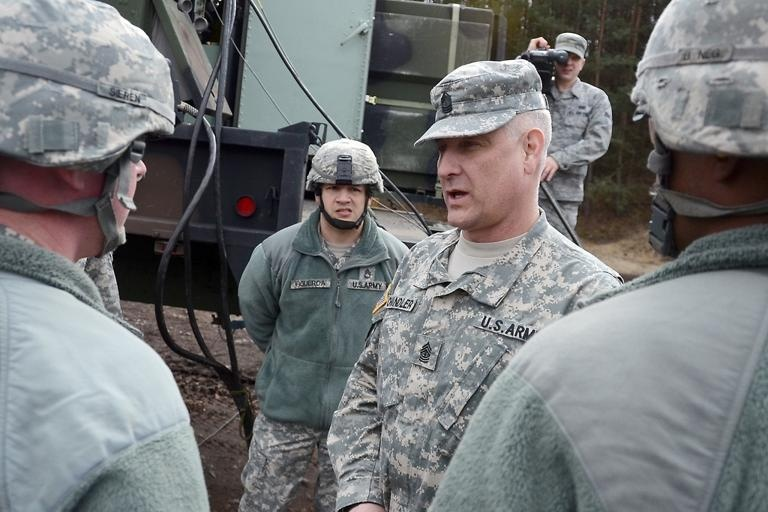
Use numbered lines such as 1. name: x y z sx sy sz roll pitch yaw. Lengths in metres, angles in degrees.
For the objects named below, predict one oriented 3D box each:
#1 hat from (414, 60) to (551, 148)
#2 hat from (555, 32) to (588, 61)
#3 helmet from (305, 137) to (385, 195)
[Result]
1. hat: 0.338 -0.509 2.526 0.352 0.180 0.254 -10 -3 -34
2. hat: 1.409 -1.587 5.655 0.219 0.174 0.327 19 1 21
3. helmet: -0.209 -0.461 4.168 0.291 0.198 0.303 1 -5 -3
